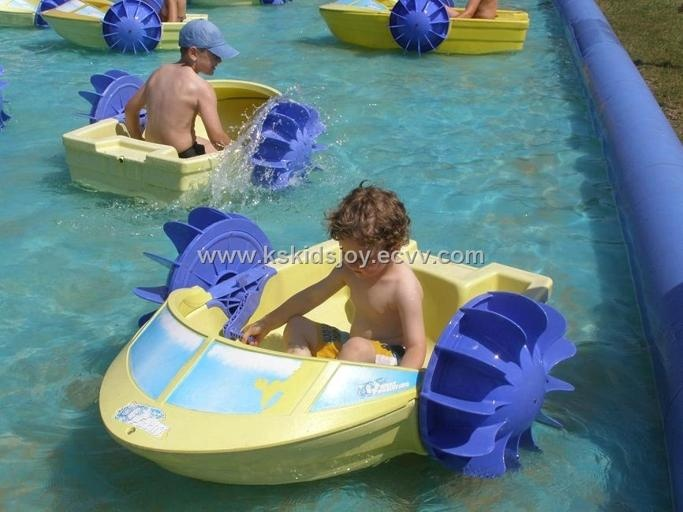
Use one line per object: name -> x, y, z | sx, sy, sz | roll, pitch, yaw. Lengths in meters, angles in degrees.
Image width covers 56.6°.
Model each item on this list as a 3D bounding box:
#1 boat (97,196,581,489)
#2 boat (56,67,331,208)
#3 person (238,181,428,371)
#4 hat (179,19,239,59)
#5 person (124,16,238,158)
boat -> -0.005, 0.448, 2.878 | 1.654, 0.639, 1.574 | 18, 32, 35
boat -> -1.278, -1.026, 5.426 | 2.068, 0.804, 1.977 | 7, 30, 5
person -> -0.035, 0.194, 2.991 | 0.924, 1.009, 0.761 | -2, 18, -3
hat -> -1.049, -1.692, 5.022 | 0.435, 0.353, 0.341 | 4, 36, 0
person -> -1.235, -1.356, 5.152 | 0.982, 1.083, 0.720 | 17, 26, 15
